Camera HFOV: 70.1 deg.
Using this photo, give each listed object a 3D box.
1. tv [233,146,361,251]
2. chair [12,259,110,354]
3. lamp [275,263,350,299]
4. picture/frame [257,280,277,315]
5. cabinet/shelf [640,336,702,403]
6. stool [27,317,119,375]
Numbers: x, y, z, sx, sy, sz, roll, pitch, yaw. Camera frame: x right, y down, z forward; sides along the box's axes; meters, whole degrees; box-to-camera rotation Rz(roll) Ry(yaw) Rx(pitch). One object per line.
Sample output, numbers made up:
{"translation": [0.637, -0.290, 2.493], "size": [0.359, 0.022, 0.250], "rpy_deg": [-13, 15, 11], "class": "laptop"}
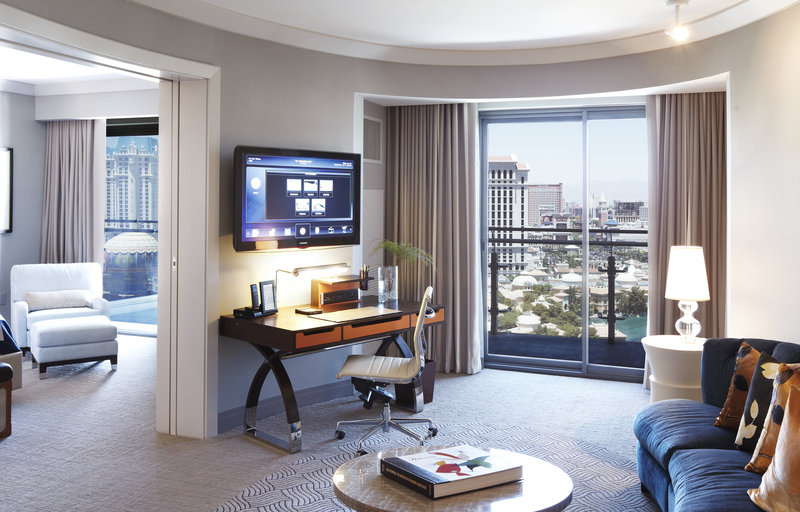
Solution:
{"translation": [-0.937, -0.514, 5.189], "size": [1.315, 0.940, 0.126], "rpy_deg": [-9, 15, -38], "class": "tv"}
{"translation": [-4.295, 0.621, 7.147], "size": [1.069, 0.966, 0.853], "rpy_deg": [-3, 12, -44], "class": "chair"}
{"translation": [-0.825, 0.147, 5.467], "size": [0.287, 0.193, 0.801], "rpy_deg": [10, 15, 39], "class": "lamp"}
{"translation": [-1.188, 0.375, 4.959], "size": [0.045, 0.358, 0.298], "rpy_deg": [-4, -4, 30], "class": "picture/frame"}
{"translation": [2.349, 0.938, 4.961], "size": [0.566, 0.508, 0.605], "rpy_deg": [-6, 6, -43], "class": "cabinet/shelf"}
{"translation": [-3.785, 0.867, 6.479], "size": [0.846, 0.489, 0.599], "rpy_deg": [-1, 2, -37], "class": "stool"}
